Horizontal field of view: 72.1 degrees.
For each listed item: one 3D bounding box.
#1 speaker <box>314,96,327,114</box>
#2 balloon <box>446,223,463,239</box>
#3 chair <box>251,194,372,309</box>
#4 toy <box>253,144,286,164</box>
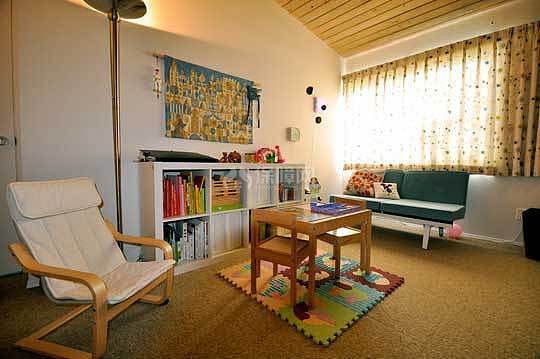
[{"bbox_3d":[0.862,-1.306,6.458,0.096,0.294,0.329,2,3,41],"label":"speaker"},{"bbox_3d":[2.749,0.753,5.550,0.192,0.226,0.370,3,8,29],"label":"balloon"},{"bbox_3d":[0.461,0.778,4.225,1.375,1.005,0.701,-6,9,-36],"label":"chair"},{"bbox_3d":[-0.023,-0.377,5.473,0.387,0.237,0.288,4,4,36],"label":"toy"}]
